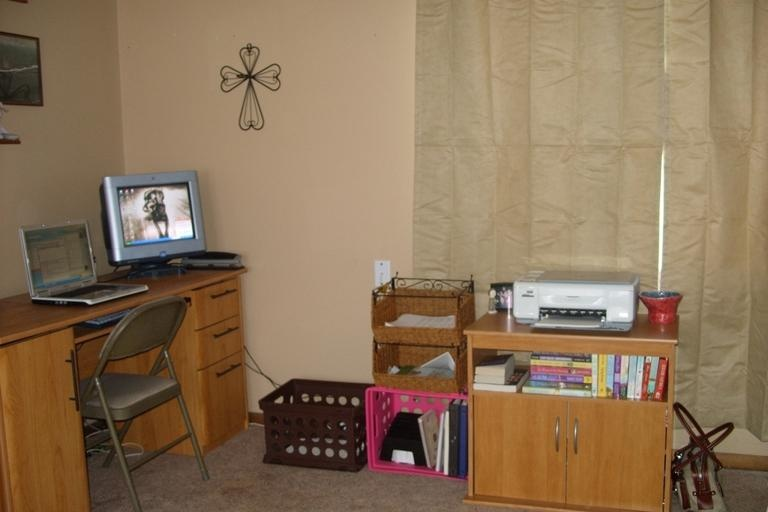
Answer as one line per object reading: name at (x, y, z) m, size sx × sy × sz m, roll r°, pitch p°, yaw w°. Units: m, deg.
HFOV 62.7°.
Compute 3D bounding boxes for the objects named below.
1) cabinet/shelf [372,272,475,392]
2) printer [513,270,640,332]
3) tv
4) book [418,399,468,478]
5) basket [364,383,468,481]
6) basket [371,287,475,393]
cabinet/shelf at (0.258, 0.506, 4.031) m, size 0.585 × 0.602 × 0.463 m, roll 2°, pitch 14°, yaw 18°
printer at (1.117, 0.262, 3.677) m, size 0.671 × 0.299 × 0.383 m, roll 2°, pitch 7°, yaw 18°
tv at (-1.520, -0.206, 4.448) m, size 0.701 × 0.643 × 0.368 m, roll -4°, pitch 0°, yaw 4°
book at (0.369, 1.145, 3.891) m, size 0.266 × 0.432 × 0.471 m, roll 2°, pitch 9°, yaw 15°
basket at (0.039, 1.079, 4.028) m, size 0.622 × 0.552 × 0.157 m, roll 0°, pitch -4°, yaw 11°
basket at (0.261, 0.494, 4.049) m, size 0.639 × 0.655 × 0.512 m, roll 1°, pitch 7°, yaw 9°
